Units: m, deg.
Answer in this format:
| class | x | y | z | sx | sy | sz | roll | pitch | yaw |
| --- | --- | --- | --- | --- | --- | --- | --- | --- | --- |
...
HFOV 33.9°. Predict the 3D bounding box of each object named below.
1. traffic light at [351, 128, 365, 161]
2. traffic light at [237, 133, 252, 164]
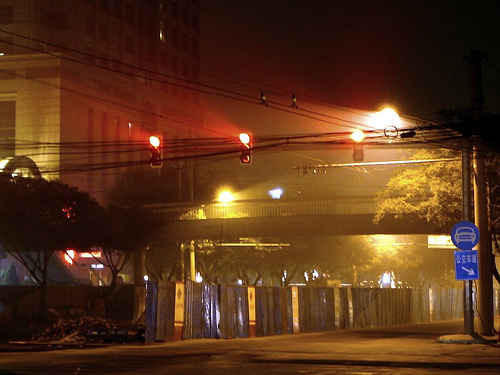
| class | x | y | z | sx | sy | sz | roll | pitch | yaw |
| --- | --- | --- | --- | --- | --- | --- | --- | --- | --- |
| traffic light | 5.345 | -2.062 | 40.720 | 0.566 | 1.848 | 1.218 | -2 | -15 | 7 |
| traffic light | -0.252 | -1.951 | 41.667 | 0.674 | 1.571 | 0.960 | -1 | -14 | 2 |
